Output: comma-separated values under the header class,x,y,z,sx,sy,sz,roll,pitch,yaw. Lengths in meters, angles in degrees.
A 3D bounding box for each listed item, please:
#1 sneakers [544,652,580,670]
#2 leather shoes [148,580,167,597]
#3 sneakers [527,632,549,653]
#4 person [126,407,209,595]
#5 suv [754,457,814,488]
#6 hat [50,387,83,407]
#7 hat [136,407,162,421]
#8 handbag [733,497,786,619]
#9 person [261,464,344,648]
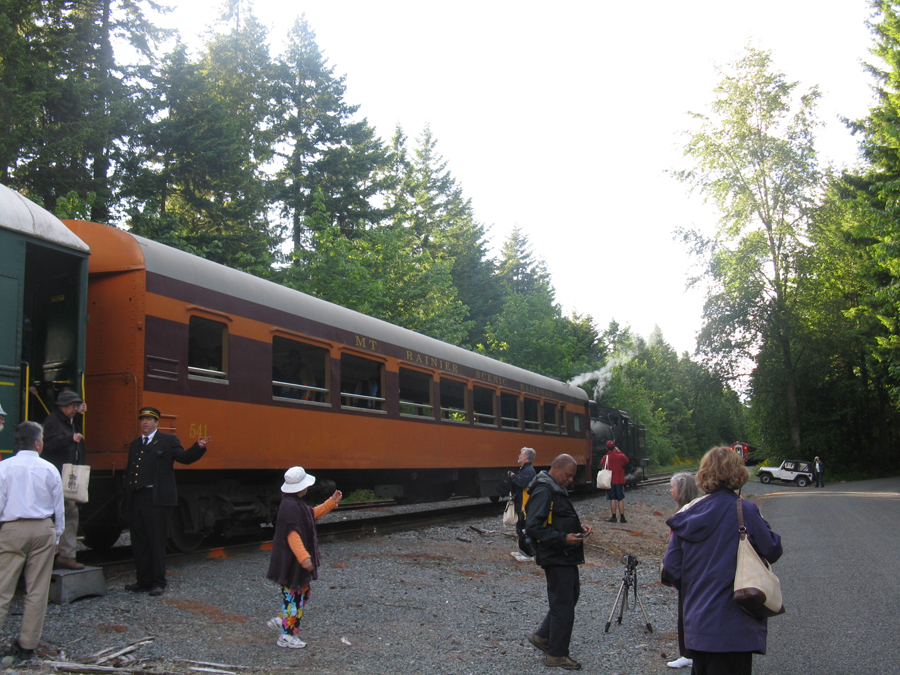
class,x,y,z,sx,sy,sz,roll,pitch,yaw
sneakers,1.033,2.927,6.375,0.334,0.160,0.129,-2,-5,13
leather shoes,-3.271,2.792,7.811,0.129,0.152,0.288,-1,-11,10
sneakers,0.860,2.952,6.741,0.089,0.112,0.257,-2,-13,28
person,-3.347,1.839,7.953,0.769,2.060,0.388,3,-9,-14
suv,16.167,6.402,33.399,2.096,1.043,1.260,1,-8,26
hat,-4.203,0.665,7.724,0.258,0.152,0.285,0,-14,-3
hat,-3.443,0.893,8.044,0.183,0.094,0.231,-2,-13,11
handbag,1.975,1.422,4.473,0.256,0.749,0.350,-6,-11,34
person,-1.468,2.111,6.809,0.571,1.675,1.235,2,-10,-11
